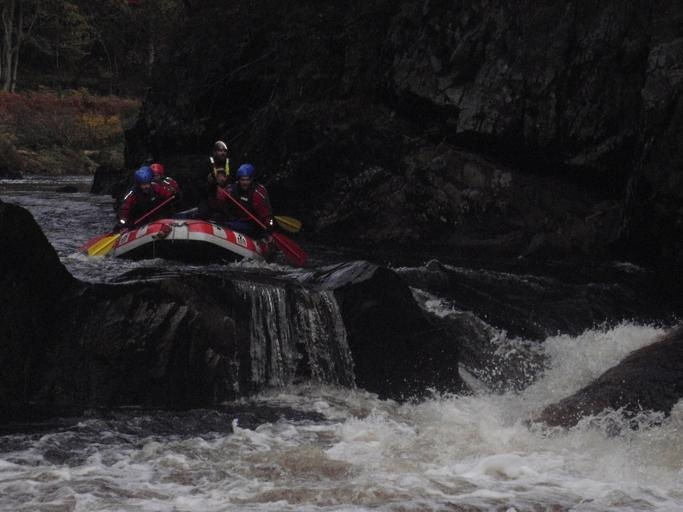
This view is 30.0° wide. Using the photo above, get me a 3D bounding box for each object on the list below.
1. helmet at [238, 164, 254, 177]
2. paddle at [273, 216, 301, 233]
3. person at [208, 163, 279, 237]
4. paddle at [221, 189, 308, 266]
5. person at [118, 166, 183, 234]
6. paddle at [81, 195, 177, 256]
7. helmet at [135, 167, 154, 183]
[{"bbox_3d":[-2.063,-1.806,27.481,0.292,0.210,0.285,-15,25,-32],"label":"helmet"},{"bbox_3d":[-1.198,-0.683,28.819,0.790,0.271,0.126,19,-7,8],"label":"paddle"},{"bbox_3d":[-2.216,-1.161,28.098,1.227,1.103,1.904,11,-43,6],"label":"person"},{"bbox_3d":[-1.733,-0.539,28.180,2.651,0.200,0.541,37,-30,-28],"label":"paddle"},{"bbox_3d":[-4.079,-1.133,27.594,1.283,1.162,2.030,-16,-12,-11],"label":"person"},{"bbox_3d":[-4.729,-0.384,26.955,2.715,0.722,0.144,-29,-45,-23],"label":"paddle"},{"bbox_3d":[-4.153,-1.674,26.861,0.346,0.335,0.423,2,11,-10],"label":"helmet"}]
